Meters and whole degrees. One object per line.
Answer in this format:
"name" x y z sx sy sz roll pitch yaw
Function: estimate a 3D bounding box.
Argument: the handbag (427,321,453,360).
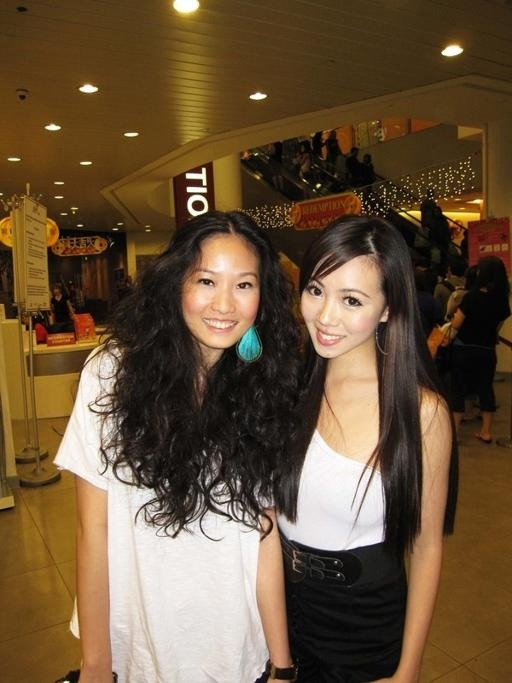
"handbag" 1.514 -0.014 4.469 0.105 0.325 0.131 28 -19 -37

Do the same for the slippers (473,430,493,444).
"slippers" 2.058 0.866 4.929 0.060 0.076 0.170 -9 14 -7
